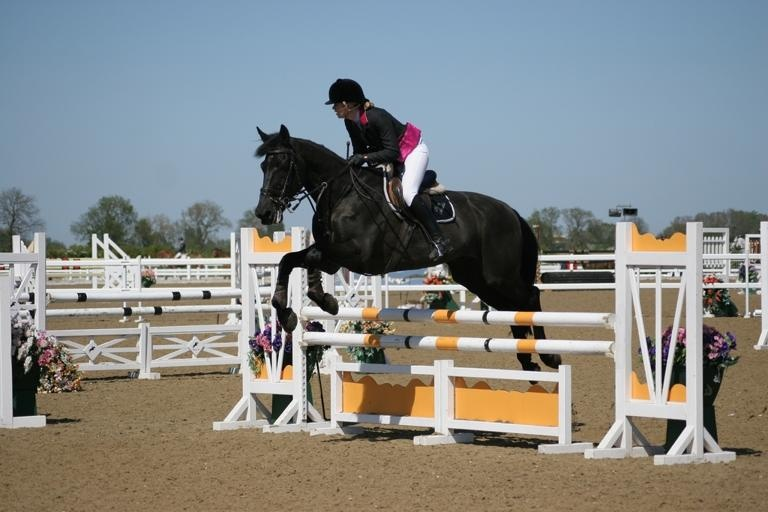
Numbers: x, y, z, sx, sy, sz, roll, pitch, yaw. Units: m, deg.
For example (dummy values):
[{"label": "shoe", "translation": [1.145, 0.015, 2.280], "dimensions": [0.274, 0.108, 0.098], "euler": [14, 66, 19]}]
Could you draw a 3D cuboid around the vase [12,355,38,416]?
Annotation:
[{"label": "vase", "translation": [-3.735, 1.358, 10.958], "dimensions": [0.242, 0.588, 0.226], "euler": [-1, 5, -5]}]

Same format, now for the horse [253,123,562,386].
[{"label": "horse", "translation": [0.257, 0.018, 10.575], "dimensions": [3.246, 2.300, 0.822], "euler": [5, 2, -22]}]

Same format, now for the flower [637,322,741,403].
[{"label": "flower", "translation": [2.891, 0.967, 9.996], "dimensions": [0.723, 0.575, 0.820], "euler": [-6, -6, -28]}]

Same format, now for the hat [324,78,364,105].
[{"label": "hat", "translation": [-0.355, -1.551, 9.944], "dimensions": [0.336, 0.222, 0.265], "euler": [-1, 6, -2]}]

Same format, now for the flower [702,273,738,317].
[{"label": "flower", "translation": [5.970, 0.782, 18.810], "dimensions": [0.566, 0.681, 0.822], "euler": [1, 6, 19]}]

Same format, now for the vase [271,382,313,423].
[{"label": "vase", "translation": [-0.978, 1.543, 11.005], "dimensions": [0.442, 0.419, 0.353], "euler": [-2, 6, -9]}]

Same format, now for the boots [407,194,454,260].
[{"label": "boots", "translation": [0.444, -0.289, 10.076], "dimensions": [0.282, 0.759, 0.262], "euler": [-34, -13, 28]}]
